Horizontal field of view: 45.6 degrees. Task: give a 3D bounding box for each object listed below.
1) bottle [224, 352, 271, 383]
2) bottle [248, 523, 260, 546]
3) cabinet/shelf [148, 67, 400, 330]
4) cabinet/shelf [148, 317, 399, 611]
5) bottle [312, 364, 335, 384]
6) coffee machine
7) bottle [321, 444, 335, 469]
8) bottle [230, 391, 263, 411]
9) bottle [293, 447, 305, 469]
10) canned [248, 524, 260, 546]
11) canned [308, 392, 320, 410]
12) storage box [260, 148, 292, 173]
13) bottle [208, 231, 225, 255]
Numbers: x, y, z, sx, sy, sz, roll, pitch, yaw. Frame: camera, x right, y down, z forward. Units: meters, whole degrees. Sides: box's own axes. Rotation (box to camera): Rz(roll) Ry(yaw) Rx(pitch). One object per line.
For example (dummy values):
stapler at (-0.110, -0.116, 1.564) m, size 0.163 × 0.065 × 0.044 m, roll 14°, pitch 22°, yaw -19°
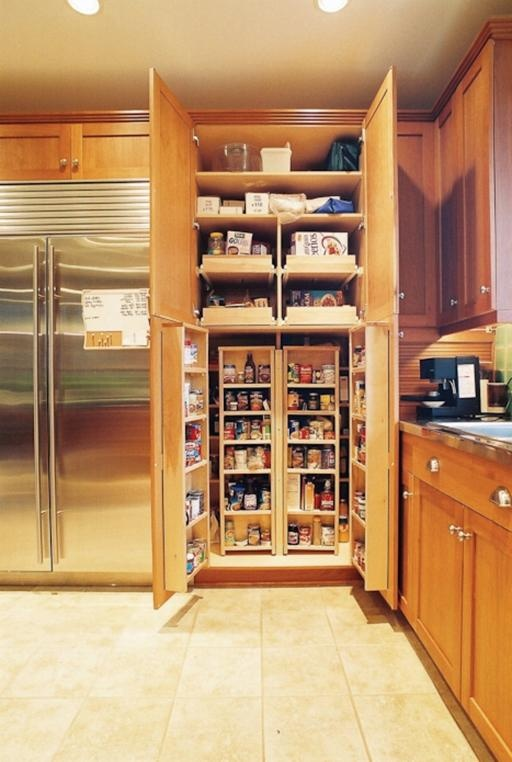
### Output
bottle at (-0.049, -0.066, 3.092) m, size 0.137 × 0.153 × 0.047 m, roll 0°, pitch -3°, yaw -3°
bottle at (-0.008, 0.770, 3.033) m, size 0.077 × 0.123 × 0.078 m, roll 1°, pitch -7°, yaw 0°
cabinet/shelf at (0.046, -0.741, 2.863) m, size 1.275 × 1.381 × 1.035 m, roll 0°, pitch 1°, yaw -1°
cabinet/shelf at (0.095, 0.295, 2.761) m, size 0.922 × 1.318 × 0.611 m, roll 0°, pitch 9°, yaw 6°
bottle at (0.340, -0.032, 3.049) m, size 0.107 × 0.103 × 0.076 m, roll 1°, pitch 2°, yaw 13°
coffee machine at (0.867, -0.012, 2.733) m, size 0.183 × 0.263 × 0.264 m, roll -7°, pitch 19°, yaw 1°
bottle at (0.359, 0.386, 3.105) m, size 0.079 × 0.162 × 0.084 m, roll -1°, pitch -1°, yaw 0°
bottle at (-0.049, 0.105, 3.108) m, size 0.095 × 0.085 × 0.132 m, roll 0°, pitch -4°, yaw -1°
bottle at (0.213, 0.392, 3.090) m, size 0.076 × 0.147 × 0.077 m, roll -1°, pitch 2°, yaw 0°
canned at (-0.012, 0.767, 3.034) m, size 0.072 × 0.105 × 0.076 m, roll 2°, pitch -2°, yaw -4°
canned at (0.292, 0.108, 3.081) m, size 0.068 × 0.132 × 0.069 m, roll 1°, pitch -1°, yaw -6°
storage box at (0.094, -1.028, 2.842) m, size 0.108 × 0.108 × 0.143 m, roll 0°, pitch 7°, yaw 0°
bottle at (-0.187, -0.652, 2.889) m, size 0.075 × 0.120 × 0.110 m, roll 0°, pitch -3°, yaw -2°
